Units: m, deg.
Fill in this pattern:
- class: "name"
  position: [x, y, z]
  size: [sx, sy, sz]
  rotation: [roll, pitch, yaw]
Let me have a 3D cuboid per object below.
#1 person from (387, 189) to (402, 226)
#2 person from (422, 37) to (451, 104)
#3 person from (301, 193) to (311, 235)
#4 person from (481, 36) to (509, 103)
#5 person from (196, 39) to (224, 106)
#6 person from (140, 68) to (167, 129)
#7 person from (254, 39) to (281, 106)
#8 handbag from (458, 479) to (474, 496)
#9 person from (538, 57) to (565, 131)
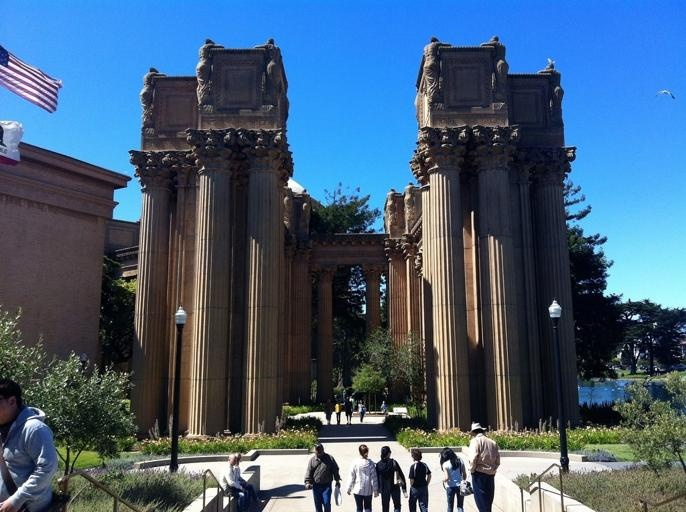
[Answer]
- class: "person"
  position: [3.353, -3.293, 44.148]
  size: [1.120, 2.310, 0.791]
  rotation: [-6, -13, 21]
- class: "person"
  position: [3.763, -7.802, 28.308]
  size: [1.277, 2.914, 0.647]
  rotation: [-11, -16, 40]
- class: "person"
  position: [-2.535, -2.824, 46.154]
  size: [0.542, 3.211, 1.474]
  rotation: [-3, -13, 12]
- class: "person"
  position: [6.465, -7.910, 28.257]
  size: [0.779, 2.903, 0.575]
  rotation: [-4, -12, 13]
- class: "person"
  position: [-5.661, -7.747, 28.224]
  size: [0.851, 2.996, 0.995]
  rotation: [2, -13, -13]
- class: "person"
  position: [-8.399, -6.834, 29.252]
  size: [0.706, 3.043, 0.803]
  rotation: [6, -14, -27]
- class: "person"
  position: [-3.006, -7.720, 28.148]
  size: [0.782, 2.943, 0.895]
  rotation: [0, -12, -3]
- class: "handbag"
  position: [2.998, 5.655, 16.475]
  size: [0.334, 0.396, 0.381]
  rotation: [-2, -6, -2]
- class: "person"
  position: [9.222, -7.237, 29.639]
  size: [0.765, 3.131, 0.505]
  rotation: [-4, -12, 13]
